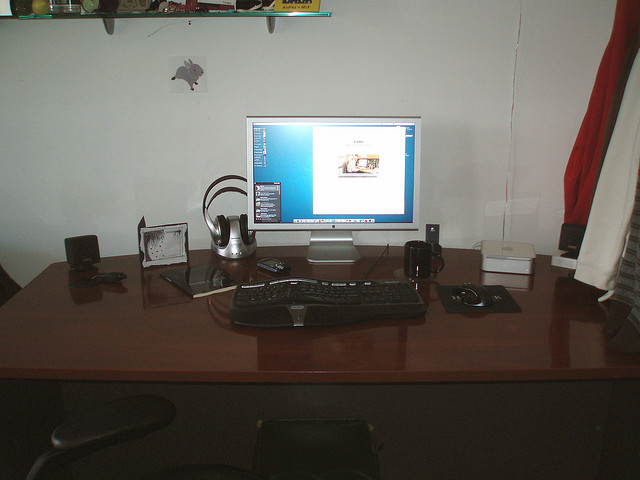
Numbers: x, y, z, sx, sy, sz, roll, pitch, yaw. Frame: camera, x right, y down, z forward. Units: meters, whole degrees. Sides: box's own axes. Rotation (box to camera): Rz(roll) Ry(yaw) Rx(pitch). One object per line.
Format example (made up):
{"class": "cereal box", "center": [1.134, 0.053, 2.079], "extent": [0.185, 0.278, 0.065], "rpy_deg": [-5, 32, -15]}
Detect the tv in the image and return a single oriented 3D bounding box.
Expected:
{"class": "tv", "center": [0.055, -0.277, 2.142], "extent": [0.708, 0.454, 0.126], "rpy_deg": [0, 20, 2]}

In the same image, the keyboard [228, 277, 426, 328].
{"class": "keyboard", "center": [0.015, 0.208, 1.767], "extent": [0.642, 0.069, 0.310], "rpy_deg": [-2, 18, 2]}

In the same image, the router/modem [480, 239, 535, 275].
{"class": "router/modem", "center": [0.729, 0.061, 2.041], "extent": [0.187, 0.130, 0.185], "rpy_deg": [3, 16, 10]}

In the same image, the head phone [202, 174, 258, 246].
{"class": "head phone", "center": [-0.393, -0.141, 2.278], "extent": [0.272, 0.371, 0.157], "rpy_deg": [-3, -6, -15]}

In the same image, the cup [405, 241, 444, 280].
{"class": "cup", "center": [0.402, 0.089, 2.002], "extent": [0.153, 0.126, 0.090], "rpy_deg": [-3, -4, 14]}
